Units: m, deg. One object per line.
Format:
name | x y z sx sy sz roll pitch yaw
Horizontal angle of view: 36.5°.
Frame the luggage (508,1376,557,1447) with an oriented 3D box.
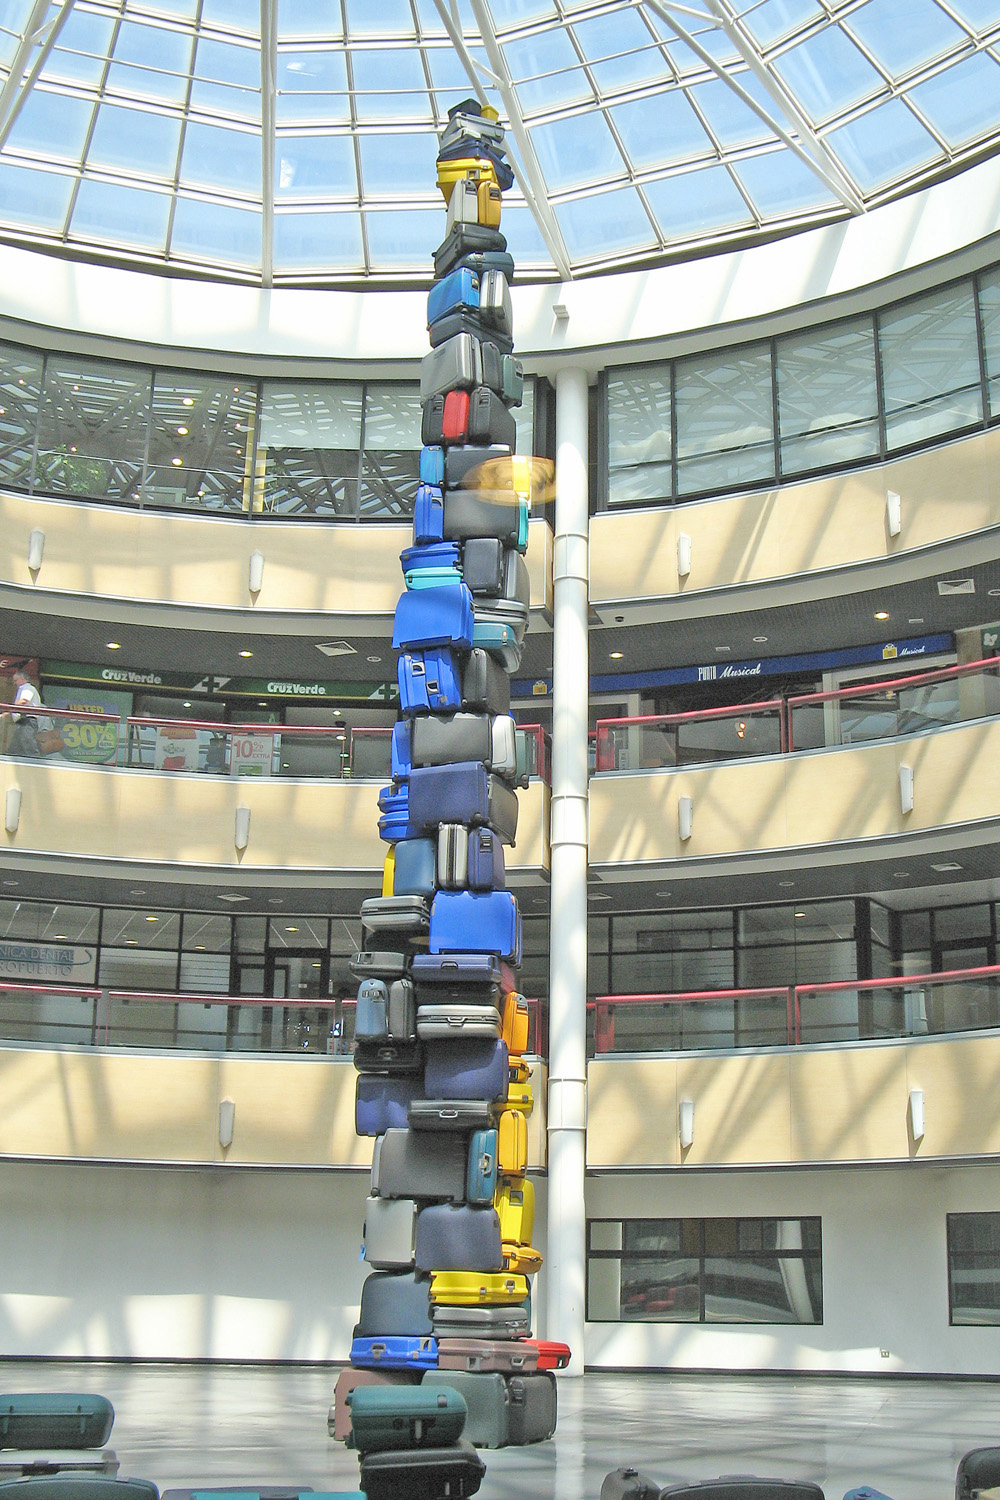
luggage | 0.206 4.396 10.084 0.144 0.481 0.763 -4 -15 14
